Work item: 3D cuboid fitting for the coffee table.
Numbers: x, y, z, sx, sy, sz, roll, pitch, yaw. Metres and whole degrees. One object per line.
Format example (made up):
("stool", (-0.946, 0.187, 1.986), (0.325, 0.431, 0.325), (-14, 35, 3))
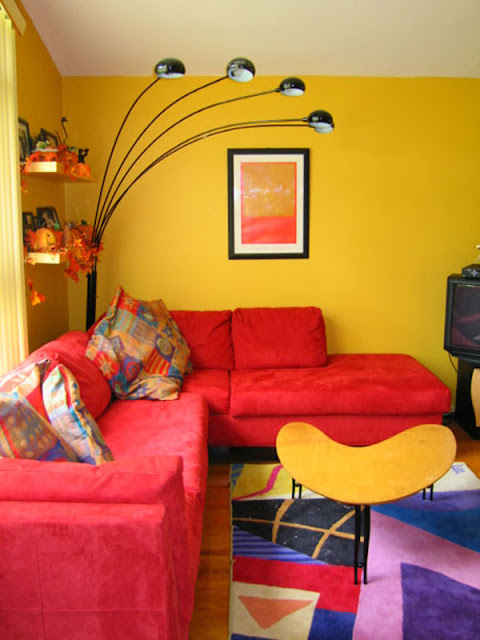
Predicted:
("coffee table", (0.512, 0.730, 2.234), (0.786, 0.375, 0.610), (-3, 17, 9))

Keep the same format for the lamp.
("lamp", (-0.234, -0.898, 3.579), (1.476, 2.010, 0.613), (8, 30, -4))

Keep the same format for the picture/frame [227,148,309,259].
("picture/frame", (0.177, -0.830, 3.697), (0.750, 0.927, 0.072), (-1, 11, -4))
